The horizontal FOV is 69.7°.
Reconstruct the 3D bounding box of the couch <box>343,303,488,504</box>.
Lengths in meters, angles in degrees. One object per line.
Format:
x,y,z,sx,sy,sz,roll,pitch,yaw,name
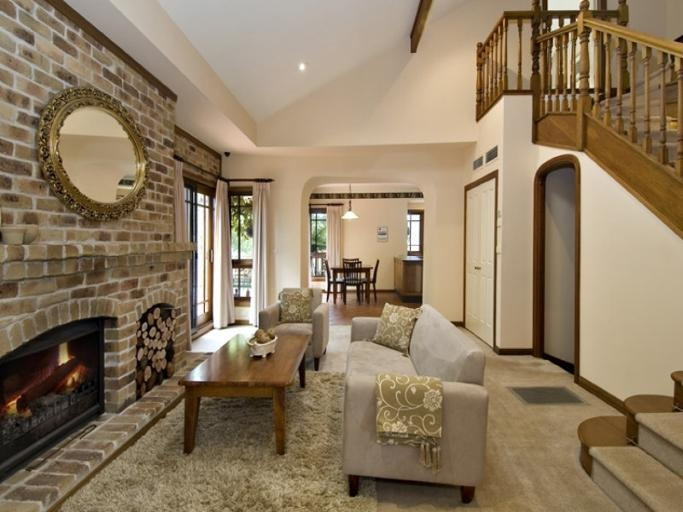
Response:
0.624,0.598,4.126,0.925,1.238,2.300,1,4,7,couch

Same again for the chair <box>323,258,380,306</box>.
0.192,0.484,10.125,0.857,0.779,0.996,0,5,5,chair

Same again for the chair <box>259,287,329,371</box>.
-0.532,0.885,6.060,0.756,1.024,0.834,-1,-7,10,chair

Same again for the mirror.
-2.176,-0.868,4.231,0.069,1.278,1.164,-2,-5,16,mirror

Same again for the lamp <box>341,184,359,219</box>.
0.171,-1.214,11.321,0.513,0.996,0.575,0,3,-2,lamp

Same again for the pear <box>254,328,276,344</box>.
-0.750,0.785,4.794,0.137,0.116,0.209,1,2,-10,pear

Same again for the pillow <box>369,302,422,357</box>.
0.617,0.727,5.049,0.431,0.479,0.135,5,-15,47,pillow

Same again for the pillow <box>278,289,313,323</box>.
-0.590,0.654,6.190,0.349,0.415,0.119,1,-13,-5,pillow
